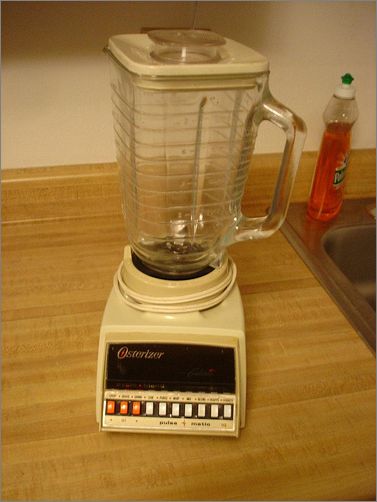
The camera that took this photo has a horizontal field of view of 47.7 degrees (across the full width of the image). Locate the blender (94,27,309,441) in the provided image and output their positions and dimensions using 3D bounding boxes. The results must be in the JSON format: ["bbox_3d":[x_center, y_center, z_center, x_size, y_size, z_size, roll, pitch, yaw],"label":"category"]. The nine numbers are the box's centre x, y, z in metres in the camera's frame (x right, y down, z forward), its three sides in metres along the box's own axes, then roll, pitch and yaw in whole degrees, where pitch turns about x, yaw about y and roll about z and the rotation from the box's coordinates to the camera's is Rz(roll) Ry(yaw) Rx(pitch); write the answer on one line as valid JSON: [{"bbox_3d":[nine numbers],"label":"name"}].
[{"bbox_3d":[0.007,-0.042,0.529,0.233,0.400,0.381,1,35,-3],"label":"blender"}]
